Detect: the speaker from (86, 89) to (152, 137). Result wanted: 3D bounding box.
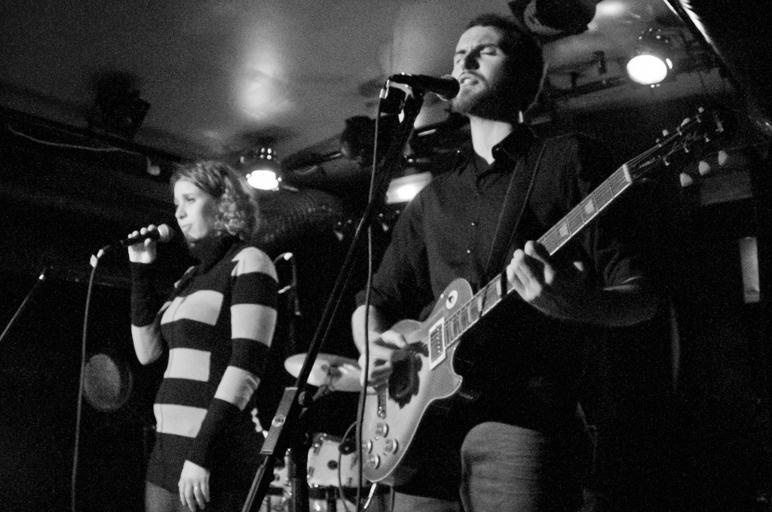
[{"bbox_3d":[-1.737,-0.941,4.469,0.347,0.185,0.352,12,-20,-27],"label":"speaker"}]

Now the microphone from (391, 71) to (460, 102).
[{"bbox_3d":[0.194,-0.718,2.865,0.333,0.110,0.107,2,-18,-33],"label":"microphone"}]

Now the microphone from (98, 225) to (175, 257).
[{"bbox_3d":[-1.520,-0.090,4.173,0.409,0.118,0.109,-18,19,-30],"label":"microphone"}]

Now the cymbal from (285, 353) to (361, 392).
[{"bbox_3d":[-0.347,0.639,3.996,0.369,0.236,0.509,-6,-20,26],"label":"cymbal"}]

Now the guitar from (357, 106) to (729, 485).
[{"bbox_3d":[0.318,0.398,2.923,0.267,0.825,2.269,12,-42,-27],"label":"guitar"}]
